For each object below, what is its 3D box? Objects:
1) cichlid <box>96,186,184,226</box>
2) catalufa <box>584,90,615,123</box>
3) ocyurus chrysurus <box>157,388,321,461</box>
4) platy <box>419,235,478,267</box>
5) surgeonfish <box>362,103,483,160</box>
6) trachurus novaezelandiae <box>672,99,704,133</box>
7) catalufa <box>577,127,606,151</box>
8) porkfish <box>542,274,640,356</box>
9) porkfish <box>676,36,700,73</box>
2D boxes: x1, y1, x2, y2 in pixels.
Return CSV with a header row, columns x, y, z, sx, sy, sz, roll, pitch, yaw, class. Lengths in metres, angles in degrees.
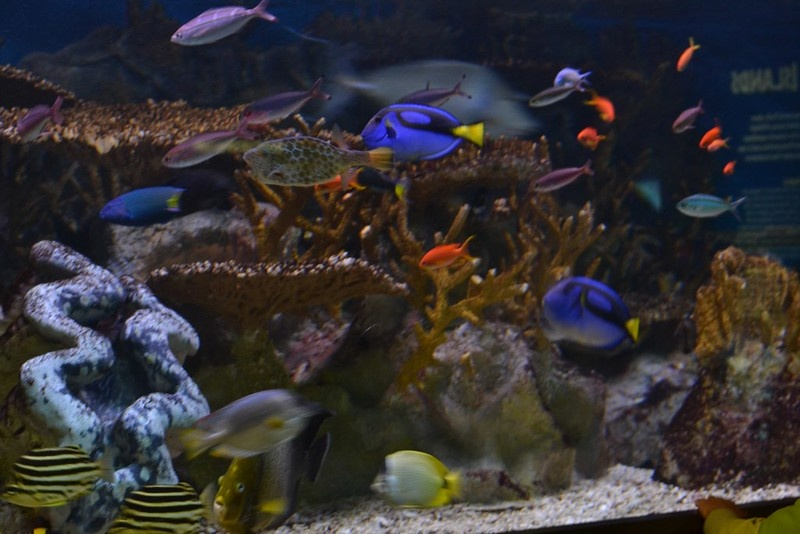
x,y,z,sx,sy,sz,roll,pitch,yaw,class
-1.517,-0.356,6.468,0.477,0.250,0.121,-5,34,-21,cichlid
1.248,-0.998,6.921,0.124,0.206,0.047,-42,7,-9,catalufa
-0.874,0.941,6.357,0.824,0.200,0.375,-13,70,-18,ocyurus chrysurus
0.296,-0.076,6.726,0.389,0.147,0.110,-17,30,-19,platy
0.127,-0.774,6.552,0.691,0.291,0.392,-1,73,4,surgeonfish
1.828,-0.931,6.964,0.303,0.128,0.042,-38,18,-16,trachurus novaezelandiae
1.195,-0.799,6.884,0.184,0.132,0.042,-8,28,-4,catalufa
1.207,0.296,6.818,0.671,0.441,0.186,19,-4,-11,porkfish
1.803,-1.322,6.930,0.096,0.239,0.067,27,7,5,porkfish
